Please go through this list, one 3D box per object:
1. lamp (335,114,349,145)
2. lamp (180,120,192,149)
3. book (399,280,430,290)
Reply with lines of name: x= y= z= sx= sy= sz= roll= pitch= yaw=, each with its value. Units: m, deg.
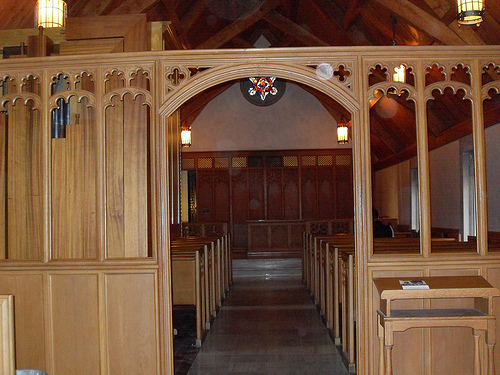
lamp: x=2.292 y=-1.455 z=15.354 sx=0.325 sy=0.715 sz=0.322 roll=2 pitch=-5 yaw=-35
lamp: x=-1.618 y=-1.347 z=15.553 sx=0.219 sy=0.652 sz=0.467 roll=1 pitch=-7 yaw=-9
book: x=1.771 y=1.046 z=6.693 sx=0.301 sy=0.097 sz=0.162 roll=0 pitch=-6 yaw=-1
